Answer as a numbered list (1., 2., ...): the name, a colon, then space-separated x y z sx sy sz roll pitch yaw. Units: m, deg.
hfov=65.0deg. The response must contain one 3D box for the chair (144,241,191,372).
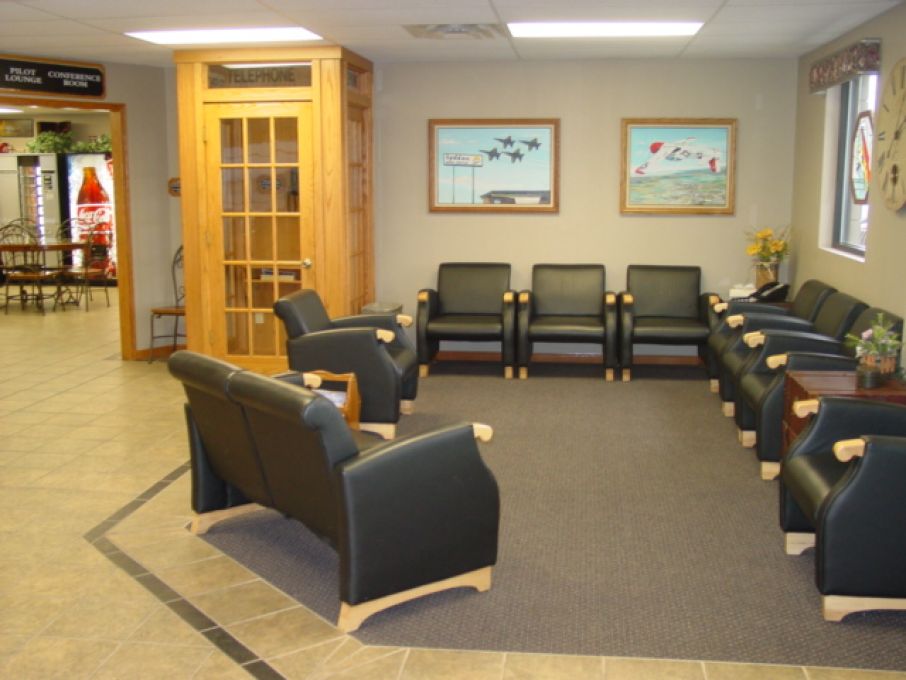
1. chair: -3.234 -0.409 7.977 0.486 1.254 0.772 -6 16 -20

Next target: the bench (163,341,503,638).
1. bench: -0.449 0.259 3.597 2.080 1.244 1.251 11 19 43

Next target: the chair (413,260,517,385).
1. chair: -0.046 -0.279 7.616 1.273 1.174 1.224 1 5 7

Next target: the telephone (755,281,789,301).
1. telephone: 3.031 -0.464 6.693 0.278 0.082 0.187 -12 17 -25

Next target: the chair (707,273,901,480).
1. chair: 2.326 0.241 4.683 0.994 1.016 1.557 0 9 6

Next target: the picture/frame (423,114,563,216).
1. picture/frame: 0.487 -1.942 7.684 1.333 0.775 0.052 1 3 3
